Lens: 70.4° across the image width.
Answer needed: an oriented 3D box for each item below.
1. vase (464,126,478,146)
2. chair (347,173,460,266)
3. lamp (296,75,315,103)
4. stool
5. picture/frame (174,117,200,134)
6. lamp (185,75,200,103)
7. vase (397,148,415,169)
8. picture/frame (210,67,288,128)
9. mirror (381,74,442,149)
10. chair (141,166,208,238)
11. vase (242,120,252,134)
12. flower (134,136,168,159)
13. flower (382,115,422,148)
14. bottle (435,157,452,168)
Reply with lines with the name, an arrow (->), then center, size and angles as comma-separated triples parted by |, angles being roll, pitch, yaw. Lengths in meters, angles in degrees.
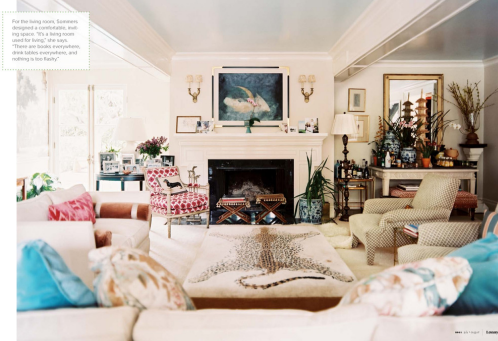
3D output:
vase -> 3.832, -0.602, 6.065 | 0.181, 0.295, 0.353 | 6, 12, 26
chair -> 1.701, 0.521, 4.129 | 1.147, 1.002, 0.951 | 0, -1, 4
lamp -> 0.923, -1.328, 5.768 | 0.264, 0.458, 0.285 | 2, 11, 10
stool -> 2.229, 0.394, 4.290 | 0.377, 0.277, 0.563 | -3, 4, -12
picture/frame -> -1.040, -0.742, 5.830 | 0.289, 0.215, 0.019 | 0, -7, -3
lamp -> -0.915, -1.326, 5.760 | 0.277, 0.456, 0.265 | -2, 11, -9
vase -> 2.578, -0.214, 5.859 | 0.323, 0.344, 0.266 | 1, 2, 5
picture/frame -> 0.011, -1.254, 5.857 | 1.022, 0.752, 0.041 | 0, 0, -1
mirror -> 2.786, -1.050, 6.120 | 1.328, 1.795, 0.068 | 1, -2, -4
chair -> -1.143, 0.389, 5.234 | 0.961, 1.164, 0.961 | 1, 3, 44
vase -> -0.032, -0.718, 5.788 | 0.145, 0.216, 0.309 | 0, 11, -1
flower -> -1.661, -0.374, 5.897 | 0.566, 0.386, 0.423 | -2, 1, -13
flower -> 2.625, -0.662, 6.246 | 0.551, 0.612, 0.558 | 0, -5, -3
bottle -> 3.220, -0.123, 5.780 | 0.198, 0.144, 0.198 | 0, -4, 0
